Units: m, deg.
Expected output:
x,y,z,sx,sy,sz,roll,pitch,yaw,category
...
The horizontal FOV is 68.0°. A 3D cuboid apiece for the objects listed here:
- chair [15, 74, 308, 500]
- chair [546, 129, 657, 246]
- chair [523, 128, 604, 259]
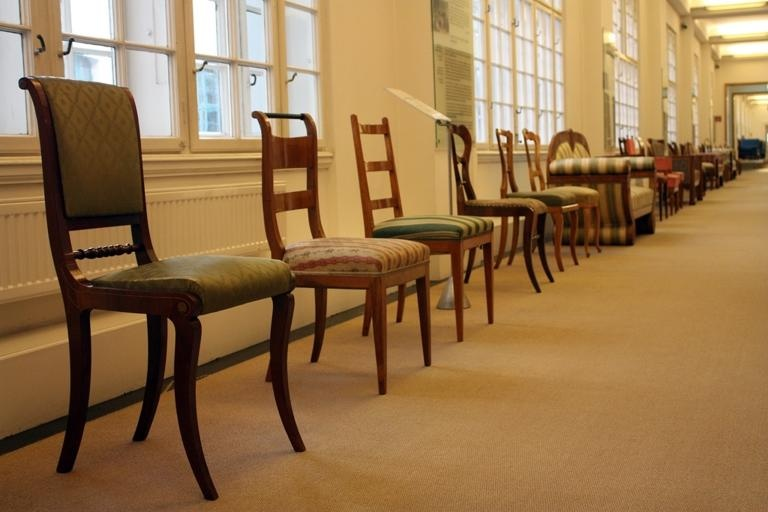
x,y,z,sx,sy,sz,roll,pitch,yaw,category
-0.759,-0.032,3.013,1.304,2.271,1.227,2,4,19,chair
2.677,-1.213,7.061,1.161,1.968,2.217,1,4,21,chair
1.502,-0.510,5.394,0.697,1.346,0.749,3,2,-44,chair
